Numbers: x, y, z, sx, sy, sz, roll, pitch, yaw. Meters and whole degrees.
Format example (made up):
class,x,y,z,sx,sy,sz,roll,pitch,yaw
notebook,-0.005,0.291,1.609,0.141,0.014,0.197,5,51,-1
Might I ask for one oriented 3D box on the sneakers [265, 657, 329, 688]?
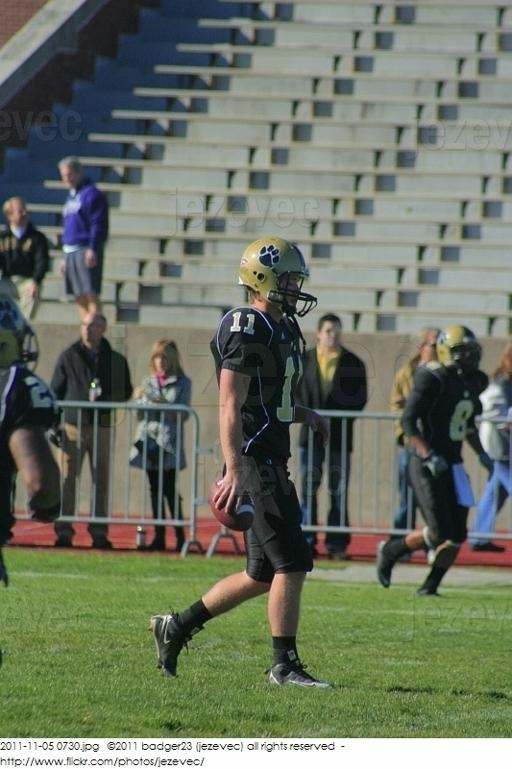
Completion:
class,x,y,z,sx,sy,sz,roll,pitch,yaw
sneakers,0.169,1.296,9.312,0.297,0.145,0.109,2,-2,10

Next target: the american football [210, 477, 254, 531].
class,x,y,z,sx,sy,sz,roll,pitch,yaw
american football,-0.115,0.541,9.215,0.201,0.221,0.151,3,-5,-13

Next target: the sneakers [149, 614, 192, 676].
class,x,y,z,sx,sy,sz,roll,pitch,yaw
sneakers,-0.408,1.161,9.360,0.233,0.361,0.116,0,3,7

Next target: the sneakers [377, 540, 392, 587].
class,x,y,z,sx,sy,sz,roll,pitch,yaw
sneakers,0.675,0.946,10.864,0.098,0.239,0.136,2,-4,4

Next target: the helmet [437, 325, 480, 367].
class,x,y,z,sx,sy,sz,roll,pitch,yaw
helmet,1.038,-0.205,11.000,0.177,0.214,0.223,5,2,-34

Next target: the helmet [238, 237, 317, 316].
class,x,y,z,sx,sy,sz,roll,pitch,yaw
helmet,0.097,-0.505,9.562,0.370,0.365,0.288,10,7,2

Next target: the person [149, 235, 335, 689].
class,x,y,z,sx,sy,sz,roll,pitch,yaw
person,-0.027,0.332,9.349,0.751,2.027,0.502,2,-4,-3

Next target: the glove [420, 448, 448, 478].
class,x,y,z,sx,sy,sz,roll,pitch,yaw
glove,0.926,0.419,10.860,0.119,0.069,0.068,43,3,-30

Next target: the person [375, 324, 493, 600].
class,x,y,z,sx,sy,sz,roll,pitch,yaw
person,0.914,0.394,10.890,0.524,1.413,0.280,3,-4,-8
